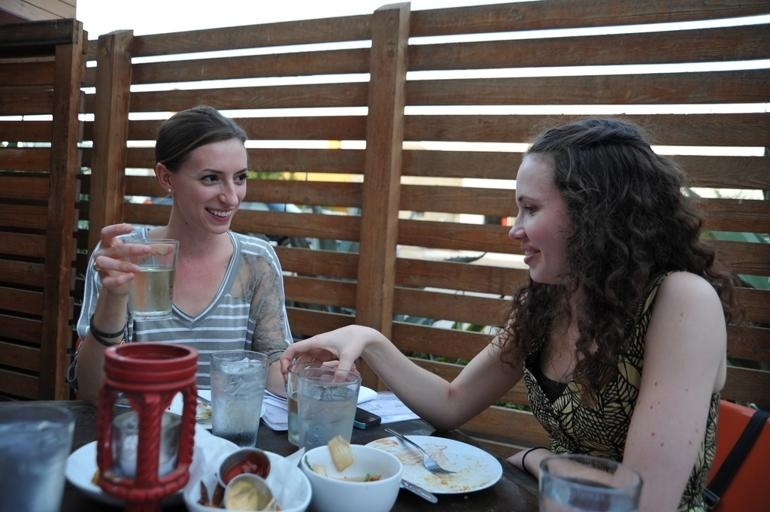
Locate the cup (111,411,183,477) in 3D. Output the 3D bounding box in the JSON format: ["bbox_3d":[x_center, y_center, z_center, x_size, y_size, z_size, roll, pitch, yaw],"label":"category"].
[{"bbox_3d":[-0.551,0.425,1.277,0.174,0.156,0.155,3,5,-7],"label":"cup"}]

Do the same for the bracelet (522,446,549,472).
[{"bbox_3d":[0.509,0.703,1.831,0.102,0.044,0.076,4,9,44],"label":"bracelet"}]

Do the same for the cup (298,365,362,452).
[{"bbox_3d":[-0.177,0.469,1.615,0.182,0.223,0.130,4,5,-5],"label":"cup"}]

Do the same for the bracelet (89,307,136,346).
[{"bbox_3d":[-0.966,0.248,1.911,0.143,0.173,0.079,0,7,7],"label":"bracelet"}]
